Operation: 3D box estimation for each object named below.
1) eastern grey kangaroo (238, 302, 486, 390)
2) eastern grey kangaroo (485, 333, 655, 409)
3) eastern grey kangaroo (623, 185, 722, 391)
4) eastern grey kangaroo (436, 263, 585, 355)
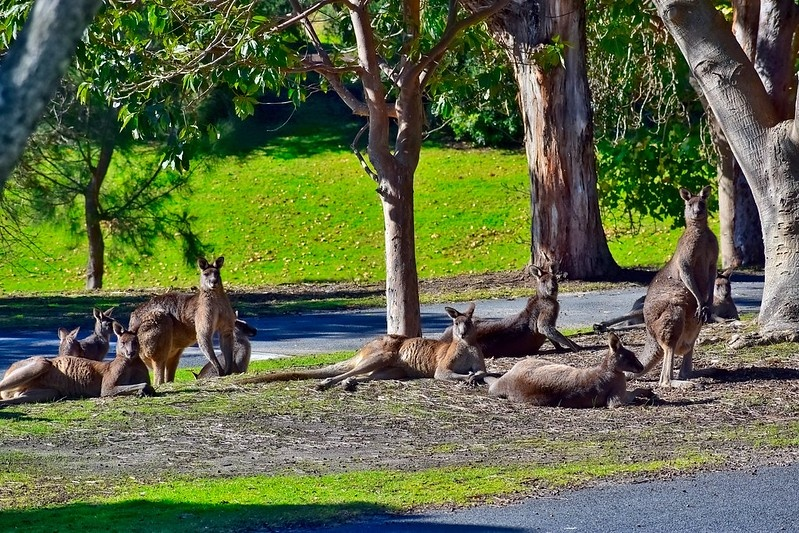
[{"bbox_3d":[-0.181,1.237,22.317,2.948,1.140,1.012,-4,5,2],"label":"eastern grey kangaroo"},{"bbox_3d":[2.336,1.534,21.249,2.557,1.082,0.783,0,8,4],"label":"eastern grey kangaroo"},{"bbox_3d":[4.144,0.326,21.589,1.260,2.850,0.814,-7,6,-33],"label":"eastern grey kangaroo"},{"bbox_3d":[1.813,0.948,23.995,2.274,1.610,0.826,-15,-6,-8],"label":"eastern grey kangaroo"}]
